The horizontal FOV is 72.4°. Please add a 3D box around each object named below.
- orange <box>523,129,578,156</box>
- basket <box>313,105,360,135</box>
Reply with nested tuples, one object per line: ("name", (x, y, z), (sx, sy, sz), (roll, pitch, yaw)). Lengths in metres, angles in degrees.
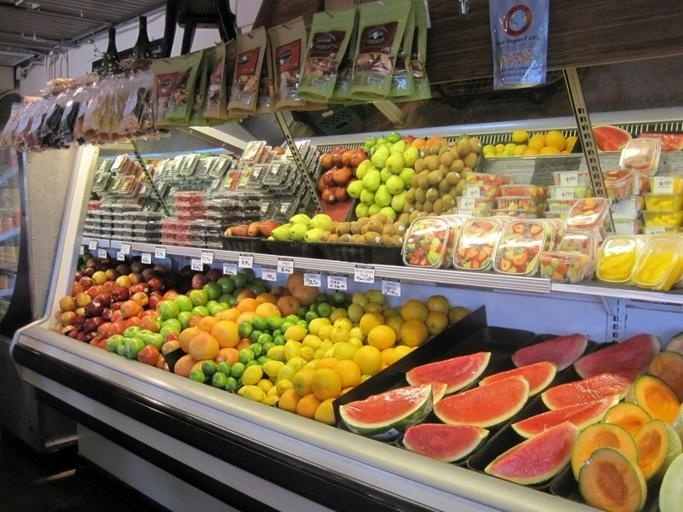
("orange", (1.026, -0.561, 2.294), (0.225, 0.128, 0.168), (2, 10, 22))
("basket", (-0.021, -0.814, 2.824), (0.271, 0.121, 0.381), (-3, 8, -7))
